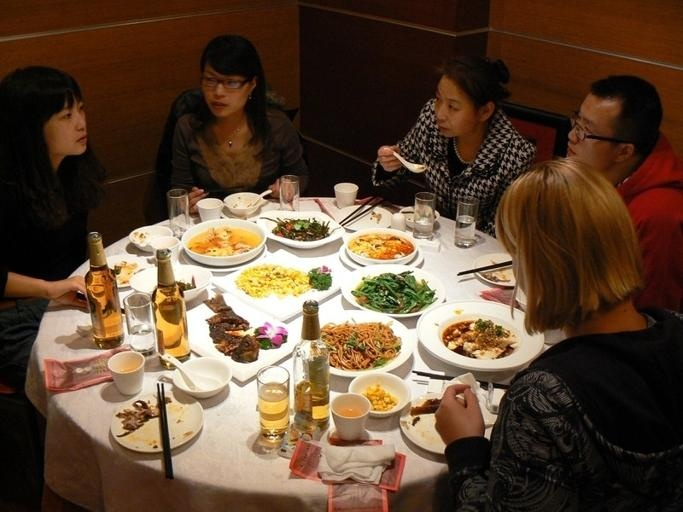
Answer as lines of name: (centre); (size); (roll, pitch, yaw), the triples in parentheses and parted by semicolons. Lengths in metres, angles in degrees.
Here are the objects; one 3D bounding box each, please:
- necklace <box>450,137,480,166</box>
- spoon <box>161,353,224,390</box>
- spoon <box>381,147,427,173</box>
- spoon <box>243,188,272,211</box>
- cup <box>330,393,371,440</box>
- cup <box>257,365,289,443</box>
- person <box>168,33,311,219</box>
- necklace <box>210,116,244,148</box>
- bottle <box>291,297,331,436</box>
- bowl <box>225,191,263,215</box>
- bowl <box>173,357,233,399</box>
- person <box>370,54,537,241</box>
necklace: (0.841, -0.720, 3.480); (0.161, 0.216, 0.102); (8, 17, 36)
spoon: (-0.555, 0.437, 1.878); (0.192, 0.039, 0.105); (35, 27, 5)
spoon: (0.374, -0.639, 3.425); (0.130, 0.077, 0.474); (-11, 36, -34)
spoon: (-0.513, -0.339, 3.145); (0.074, 0.034, 0.235); (24, 51, 19)
cup: (0.025, 0.542, 1.719); (0.144, 0.110, 0.135); (1, 34, -1)
cup: (-0.234, 0.487, 1.717); (0.118, 0.248, 0.157); (-2, 22, -11)
person: (-0.776, -0.873, 3.695); (0.977, 1.359, 0.826); (-8, 36, -18)
necklace: (-0.824, -0.903, 3.680); (0.164, 0.237, 0.086); (0, 41, -8)
bottle: (-0.123, 0.368, 1.665); (0.150, 0.436, 0.190); (1, 23, -5)
bowl: (-0.592, -0.322, 3.102); (0.181, 0.067, 0.145); (-5, 36, -15)
bowl: (-0.517, 0.460, 1.887); (0.124, 0.093, 0.159); (-17, 22, -40)
person: (0.859, -0.793, 3.726); (0.971, 1.426, 0.905); (11, 27, 20)
